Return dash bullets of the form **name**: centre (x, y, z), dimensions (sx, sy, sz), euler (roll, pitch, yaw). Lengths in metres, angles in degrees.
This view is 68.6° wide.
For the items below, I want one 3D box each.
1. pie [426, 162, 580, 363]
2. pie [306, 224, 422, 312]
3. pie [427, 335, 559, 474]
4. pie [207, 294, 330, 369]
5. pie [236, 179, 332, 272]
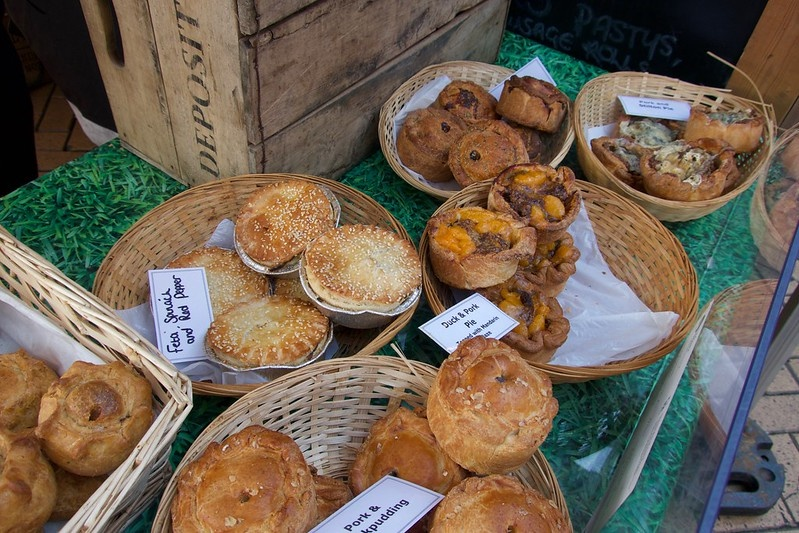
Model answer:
- **pie**: centre (0.495, -0.008, 2.846), dimensions (0.644, 0.319, 0.890), euler (-21, 70, -14)
- **pie**: centre (-0.162, 0.011, 2.418), dimensions (0.487, 0.119, 0.386), euler (1, 62, -11)
- **pie**: centre (0.337, 0.462, 2.017), dimensions (0.437, 0.271, 0.421), euler (9, 40, -3)
- **pie**: centre (-0.526, 0.259, 2.367), dimensions (0.490, 0.088, 0.317), euler (6, 62, -8)
- **pie**: centre (-0.506, -0.205, 2.559), dimensions (0.462, 0.121, 0.349), euler (-38, 75, -26)
